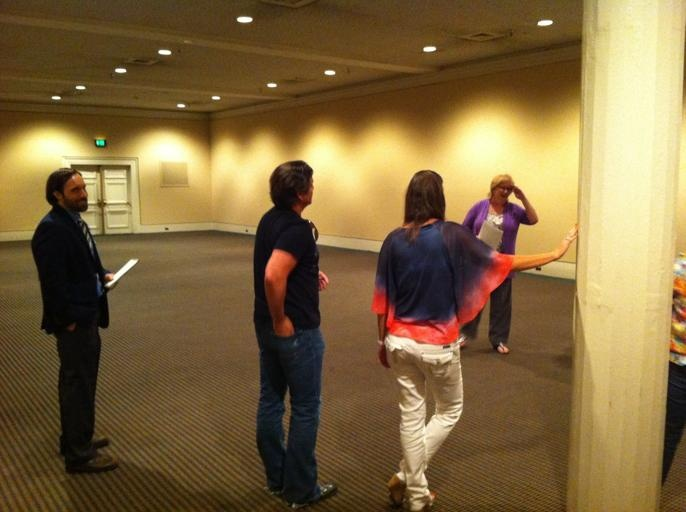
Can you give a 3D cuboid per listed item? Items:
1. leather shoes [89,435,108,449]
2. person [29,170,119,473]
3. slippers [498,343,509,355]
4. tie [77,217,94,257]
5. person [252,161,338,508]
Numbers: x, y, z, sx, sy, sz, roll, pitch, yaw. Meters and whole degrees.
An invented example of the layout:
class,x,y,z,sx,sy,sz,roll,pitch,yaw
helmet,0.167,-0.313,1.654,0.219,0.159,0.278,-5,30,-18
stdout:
class,x,y,z,sx,sy,sz,roll,pitch,yaw
leather shoes,-1.634,1.240,3.348,0.054,0.071,0.164,3,9,1
person,-1.646,0.393,3.086,0.380,1.822,0.455,-6,11,-24
slippers,1.645,0.949,5.156,0.064,0.074,0.185,-2,-9,3
tie,-1.602,-0.126,3.113,0.056,0.198,0.155,-21,10,-38
person,-0.294,0.430,2.716,0.421,1.850,0.355,-4,10,-12
